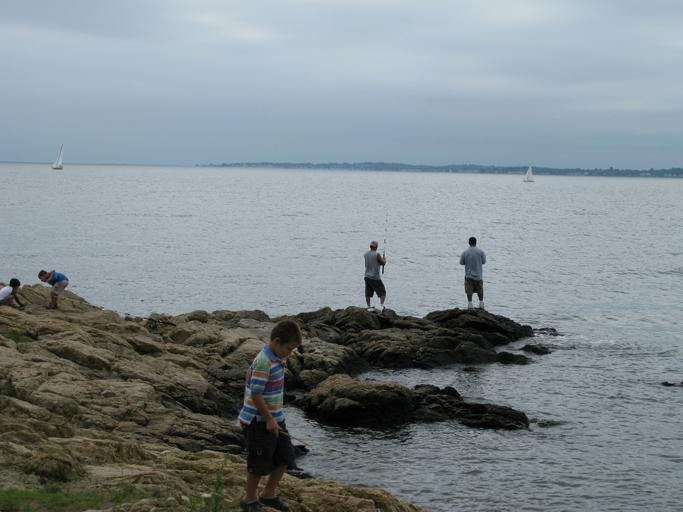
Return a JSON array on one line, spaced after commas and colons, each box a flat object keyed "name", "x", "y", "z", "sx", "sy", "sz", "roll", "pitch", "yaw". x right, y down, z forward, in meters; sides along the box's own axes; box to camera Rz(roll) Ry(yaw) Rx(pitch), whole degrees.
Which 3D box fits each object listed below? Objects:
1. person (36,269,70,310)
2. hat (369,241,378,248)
[{"name": "person", "x": -7.530, "y": 0.829, "z": 22.615, "sx": 0.612, "sy": 0.920, "sz": 0.877, "roll": 1, "pitch": 14, "yaw": -30}, {"name": "hat", "x": 0.957, "y": -0.352, "z": 26.209, "sx": 0.190, "sy": 0.238, "sz": 0.547, "roll": 8, "pitch": 11, "yaw": 0}]
